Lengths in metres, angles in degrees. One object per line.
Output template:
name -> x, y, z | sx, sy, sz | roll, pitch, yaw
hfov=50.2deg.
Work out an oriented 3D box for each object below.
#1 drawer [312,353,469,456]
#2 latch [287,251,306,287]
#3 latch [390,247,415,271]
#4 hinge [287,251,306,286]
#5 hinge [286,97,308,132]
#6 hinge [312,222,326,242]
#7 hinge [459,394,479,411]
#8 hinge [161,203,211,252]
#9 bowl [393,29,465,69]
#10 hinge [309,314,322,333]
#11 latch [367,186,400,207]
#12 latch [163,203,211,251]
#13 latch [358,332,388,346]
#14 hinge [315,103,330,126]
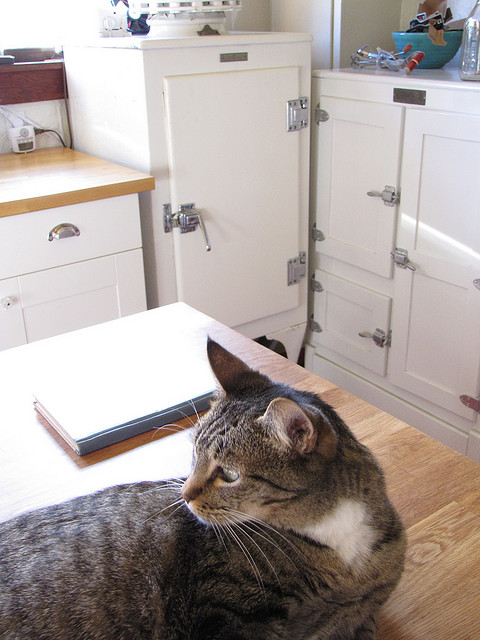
drawer -> 0.624, 0.345, 2.051 | 0.354, 0.122, 0.519 | 15, 9, -44
latch -> 0.235, -0.224, 2.185 | 0.051, 0.116, 0.121 | 11, 23, 37
latch -> 0.566, -0.221, 1.812 | 0.032, 0.050, 0.085 | -5, 25, -42
hinge -> 0.235, -0.226, 2.183 | 0.050, 0.116, 0.120 | 11, 19, 37
hinge -> 0.212, -0.790, 1.950 | 0.016, 0.092, 0.120 | 14, 27, 38
hinge -> 0.330, -0.383, 2.190 | 0.023, 0.069, 0.068 | -3, 20, -35
hinge -> 0.759, 0.273, 1.702 | 0.019, 0.017, 0.071 | -24, 3, -4
hinge -> -0.174, -0.327, 1.749 | 0.147, 0.120, 0.198 | -14, 31, -21
bowl -> 0.667, -0.950, 1.834 | 0.191, 0.099, 0.192 | -3, 32, 2
hinge -> 0.344, 0.022, 2.365 | 0.048, 0.048, 0.073 | -13, 22, -36
latch -> 0.498, -0.439, 1.791 | 0.075, 0.039, 0.045 | 15, 32, 30
latch -> -0.178, -0.354, 1.795 | 0.169, 0.174, 0.087 | 6, 52, 0
latch -> 0.529, 0.070, 2.030 | 0.071, 0.040, 0.025 | 28, 34, 34
hinge -> 0.319, -0.812, 2.025 | 0.011, 0.076, 0.083 | -14, 28, -25
